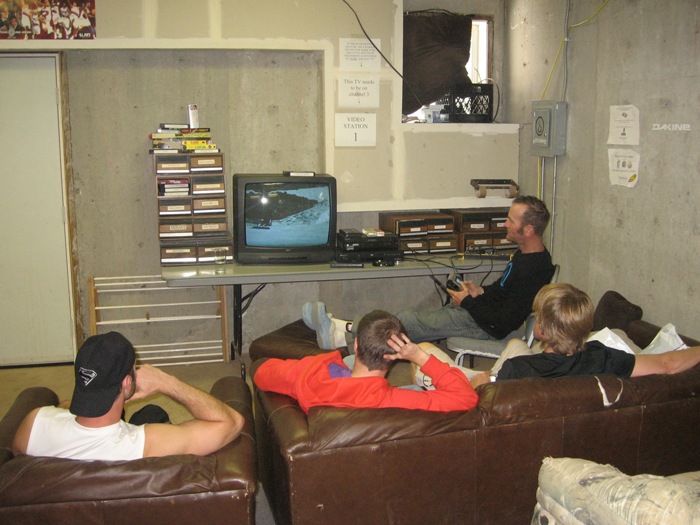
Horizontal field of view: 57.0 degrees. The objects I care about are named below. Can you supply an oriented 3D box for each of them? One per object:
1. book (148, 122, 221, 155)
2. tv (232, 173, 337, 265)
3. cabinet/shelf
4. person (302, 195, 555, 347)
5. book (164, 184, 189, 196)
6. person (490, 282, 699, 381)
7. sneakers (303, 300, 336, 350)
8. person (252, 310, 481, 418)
[{"bbox_3d":[-1.155,-0.867,4.497,0.453,0.207,0.120,-4,11,-8],"label":"book"},{"bbox_3d":[-0.421,-0.282,4.769,0.981,0.884,0.577,0,4,-9],"label":"tv"},{"bbox_3d":[-1.162,-0.479,4.723,0.528,0.843,0.484,-2,28,-10],"label":"cabinet/shelf"},{"bbox_3d":[0.509,0.042,4.336,1.754,1.114,0.803,0,15,8],"label":"person"},{"bbox_3d":[-1.207,-0.506,4.485,0.167,0.083,0.018,-4,12,-9],"label":"book"},{"bbox_3d":[0.997,0.405,3.490,1.202,0.400,1.257,-1,-9,9],"label":"person"},{"bbox_3d":[-0.182,0.377,4.007,0.148,0.325,0.148,-20,5,25],"label":"sneakers"},{"bbox_3d":[0.072,0.574,2.966,0.622,0.542,0.860,14,-29,-14],"label":"person"}]
